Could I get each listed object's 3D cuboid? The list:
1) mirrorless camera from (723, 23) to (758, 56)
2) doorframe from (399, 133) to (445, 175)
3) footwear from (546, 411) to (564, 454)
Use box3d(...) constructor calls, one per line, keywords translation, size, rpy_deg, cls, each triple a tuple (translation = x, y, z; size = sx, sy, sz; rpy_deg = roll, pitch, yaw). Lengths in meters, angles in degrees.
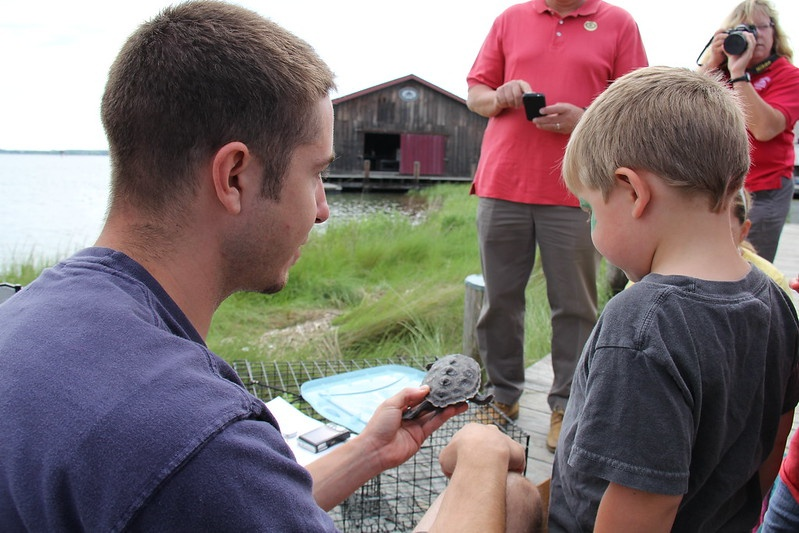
box3d(translation=(2.202, -1.475, 4.017), size=(0.179, 0.153, 0.208), rpy_deg=(10, 25, 30), cls="mirrorless camera")
box3d(translation=(0.383, -1.827, 10.146), size=(0.062, 0.646, 0.964), rpy_deg=(-10, 15, -36), cls="doorframe")
box3d(translation=(0.893, 0.947, 3.555), size=(0.116, 0.164, 0.374), rpy_deg=(1, 3, 12), cls="footwear")
